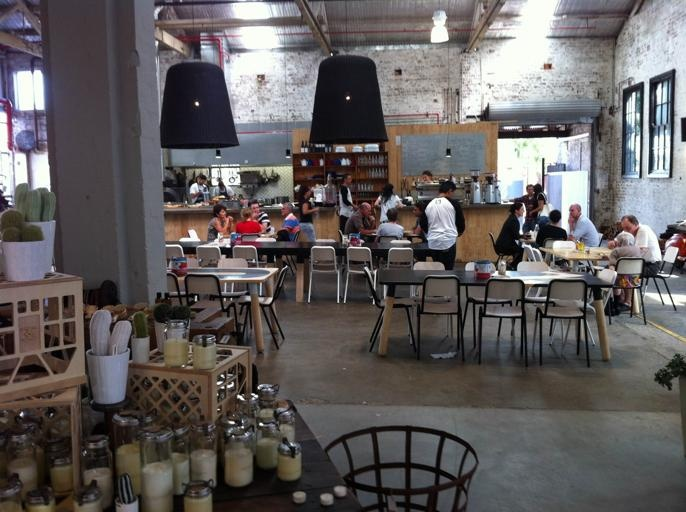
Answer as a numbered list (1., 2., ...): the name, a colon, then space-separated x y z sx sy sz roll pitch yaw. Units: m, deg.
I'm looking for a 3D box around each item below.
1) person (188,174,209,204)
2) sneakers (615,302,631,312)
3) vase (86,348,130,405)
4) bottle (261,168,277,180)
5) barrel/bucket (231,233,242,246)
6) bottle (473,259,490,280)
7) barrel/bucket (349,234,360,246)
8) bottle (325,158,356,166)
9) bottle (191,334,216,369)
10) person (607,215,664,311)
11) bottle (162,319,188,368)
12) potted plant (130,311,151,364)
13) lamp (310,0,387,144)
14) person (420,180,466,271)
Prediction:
1. person: -3.486 -1.612 14.163 0.412 0.688 1.499 -3 8 -14
2. sneakers: 3.895 0.710 8.174 0.303 0.123 0.114 0 0 -42
3. vase: -0.944 0.508 2.501 0.187 0.217 0.196 2 1 2
4. bottle: -2.019 -2.241 16.124 0.434 0.310 0.267 3 9 21
5. barrel/bucket: -1.768 -0.264 9.679 0.169 0.238 0.128 2 -22 -12
6. bottle: 1.499 0.155 6.352 0.196 0.175 0.146 1 2 -15
7. barrel/bucket: 0.167 -0.243 9.135 0.169 0.168 0.171 1 9 0
8. bottle: -0.079 -2.291 14.469 0.717 0.215 0.355 -2 8 -6
9. bottle: -0.582 0.418 2.550 0.120 0.182 0.126 1 -1 0
10. person: 4.063 0.085 8.233 0.759 1.304 0.577 -1 -1 -2
11. bottle: -0.743 0.384 2.598 0.110 0.165 0.202 -3 8 -16
12. potted plant: -0.895 0.354 2.575 0.075 0.220 0.095 -4 8 -20
13. lamp: 0.043 -1.291 4.738 0.689 0.683 0.655 -1 13 -4
14. person: 1.421 -0.243 8.329 0.521 1.609 0.497 8 18 29
